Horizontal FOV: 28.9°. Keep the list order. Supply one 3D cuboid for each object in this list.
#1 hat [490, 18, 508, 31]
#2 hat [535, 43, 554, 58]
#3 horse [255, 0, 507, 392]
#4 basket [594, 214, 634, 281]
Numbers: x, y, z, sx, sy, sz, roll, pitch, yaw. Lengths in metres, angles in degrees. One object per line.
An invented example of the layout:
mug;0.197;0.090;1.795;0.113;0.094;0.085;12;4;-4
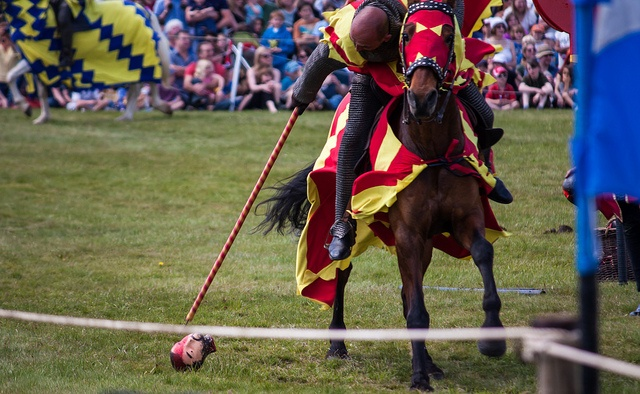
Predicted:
hat;2.750;-2.663;19.140;0.470;0.181;0.574;0;7;6
hat;3.405;-2.222;18.835;0.234;0.124;0.247;-7;0;-26
horse;0.927;-0.091;13.303;1.153;3.994;2.724;-8;12;-41
basket;3.568;0.636;15.140;0.405;0.792;0.448;-4;10;-27
